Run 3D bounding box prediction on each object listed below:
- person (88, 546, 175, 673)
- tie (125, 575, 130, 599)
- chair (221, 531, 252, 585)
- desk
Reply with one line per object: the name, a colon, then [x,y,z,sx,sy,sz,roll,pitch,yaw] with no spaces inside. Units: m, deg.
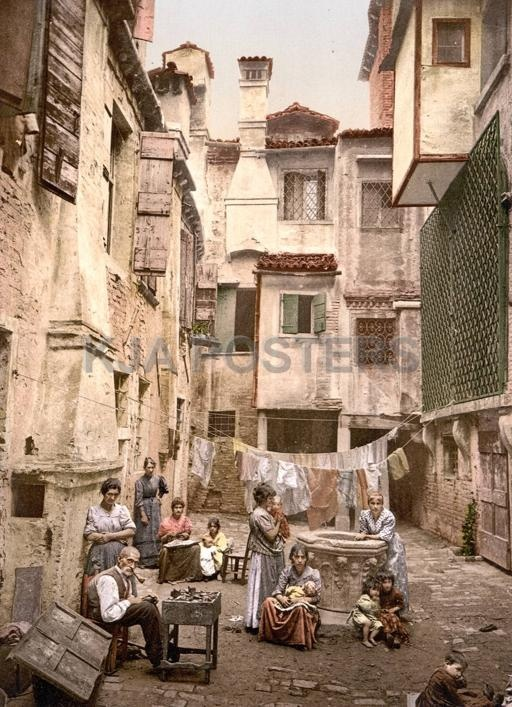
person: [-1.157,2.241,7.002,0.696,1.034,0.489,5,-13,-12]
tie: [-1.165,2.102,7.173,0.060,0.188,0.131,-1,-3,0]
chair: [-0.302,3.010,11.674,0.327,0.514,0.351,7,-21,43]
desk: [-0.592,2.498,7.128,0.443,0.780,0.799,1,-11,3]
